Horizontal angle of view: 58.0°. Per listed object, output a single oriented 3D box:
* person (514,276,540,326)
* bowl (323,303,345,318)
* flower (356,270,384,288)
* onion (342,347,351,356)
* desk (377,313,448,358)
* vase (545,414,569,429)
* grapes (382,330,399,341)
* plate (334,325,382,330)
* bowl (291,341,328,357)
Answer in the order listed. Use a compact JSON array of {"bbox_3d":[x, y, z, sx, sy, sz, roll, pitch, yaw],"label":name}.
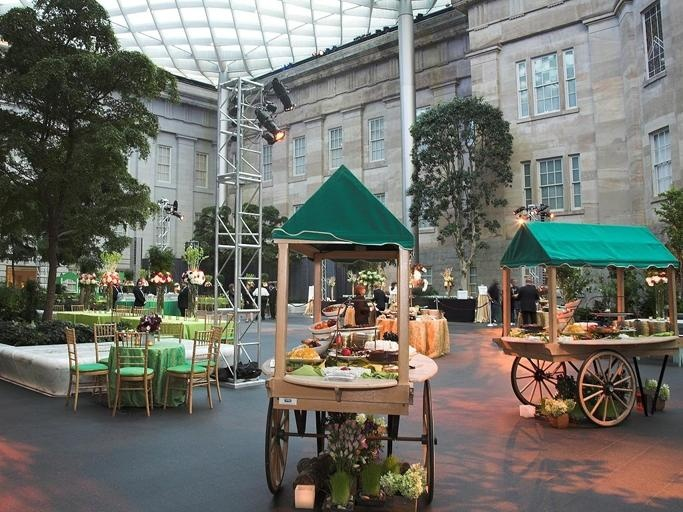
[{"bbox_3d":[5.376,1.349,17.752,0.567,1.722,0.503,0,24,17],"label":"person"},{"bbox_3d":[-0.119,0.829,9.368,0.264,0.107,0.280,-5,-5,0],"label":"bowl"},{"bbox_3d":[0.779,0.639,17.437,0.612,0.498,0.666,-1,-3,22],"label":"flower"},{"bbox_3d":[0.070,1.283,8.283,0.071,0.100,0.082,-1,4,-18],"label":"onion"},{"bbox_3d":[2.109,1.992,15.875,1.528,0.894,1.617,-3,-9,30],"label":"desk"},{"bbox_3d":[3.546,2.692,10.130,0.250,0.196,0.267,-1,-5,24],"label":"vase"},{"bbox_3d":[0.780,1.221,9.862,0.209,0.240,0.236,-1,-3,6],"label":"grapes"},{"bbox_3d":[0.207,0.986,8.455,0.609,0.066,0.357,-2,-8,5],"label":"plate"},{"bbox_3d":[-0.429,1.274,8.373,0.479,0.242,0.733,-2,-8,6],"label":"bowl"}]
